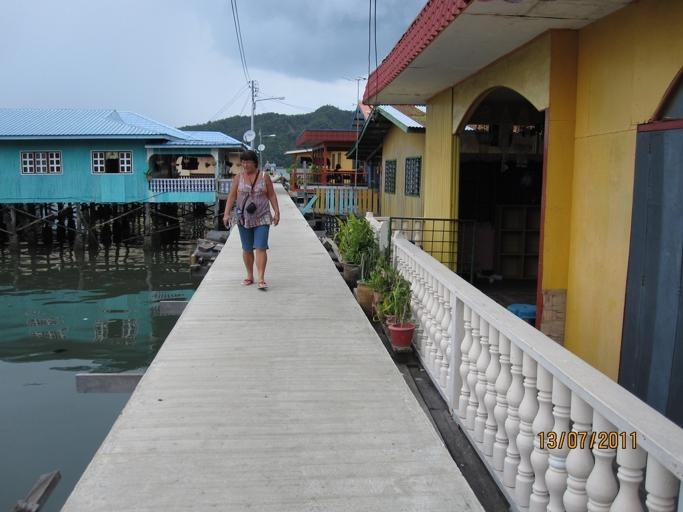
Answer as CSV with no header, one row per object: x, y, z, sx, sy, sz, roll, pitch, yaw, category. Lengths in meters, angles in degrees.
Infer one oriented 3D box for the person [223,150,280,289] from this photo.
-1.201,-0.423,7.860,0.661,1.730,0.708,0,12,-10,person

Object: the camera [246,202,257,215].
-1.164,-0.568,7.585,0.052,0.088,0.102,7,35,37,camera

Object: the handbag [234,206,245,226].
-1.323,-0.465,7.645,0.141,0.221,0.108,10,14,32,handbag

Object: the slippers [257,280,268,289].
-1.092,0.369,7.999,0.083,0.080,0.256,-1,3,-14,slippers

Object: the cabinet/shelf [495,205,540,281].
3.032,-0.247,10.910,1.091,1.538,0.409,0,0,-1,cabinet/shelf
